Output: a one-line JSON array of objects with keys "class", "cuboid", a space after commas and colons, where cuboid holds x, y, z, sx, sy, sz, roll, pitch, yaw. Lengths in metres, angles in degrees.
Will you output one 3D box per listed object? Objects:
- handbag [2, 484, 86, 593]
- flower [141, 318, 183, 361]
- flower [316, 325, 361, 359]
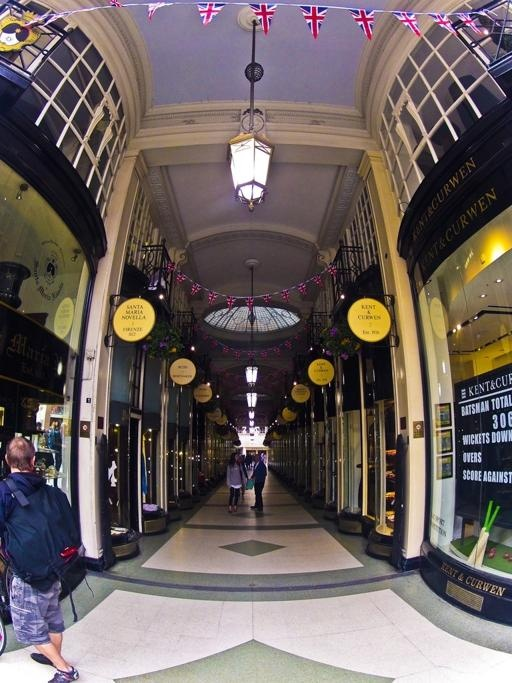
[{"class": "handbag", "cuboid": [-1.185, 1.054, 2.415, 0.207, 0.578, 0.431, -7, -16, 25]}, {"class": "flower", "cuboid": [-1.454, -0.017, 7.070, 0.591, 0.635, 0.598, 7, -4, -42]}, {"class": "flower", "cuboid": [1.386, 0.014, 7.297, 0.458, 0.623, 1.093, -1, -15, 0]}]
